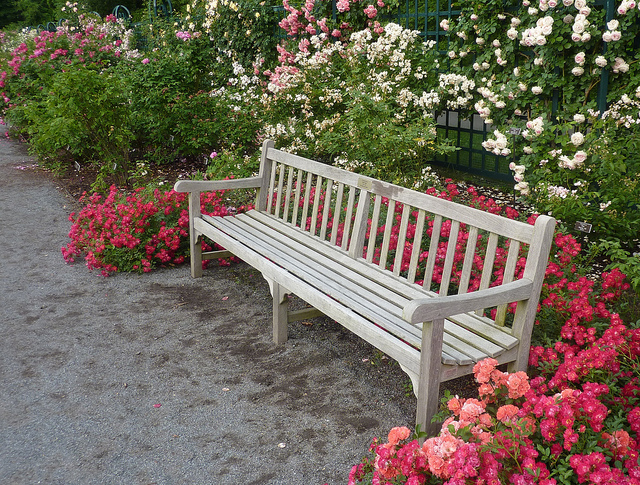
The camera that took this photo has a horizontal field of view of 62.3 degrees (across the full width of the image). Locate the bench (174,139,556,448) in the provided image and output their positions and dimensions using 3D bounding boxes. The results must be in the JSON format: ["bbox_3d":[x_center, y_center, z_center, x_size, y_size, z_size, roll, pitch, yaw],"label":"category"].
[{"bbox_3d":[-0.006,0.162,3.824,0.853,1.179,3.064,-9,20,-32],"label":"bench"}]
